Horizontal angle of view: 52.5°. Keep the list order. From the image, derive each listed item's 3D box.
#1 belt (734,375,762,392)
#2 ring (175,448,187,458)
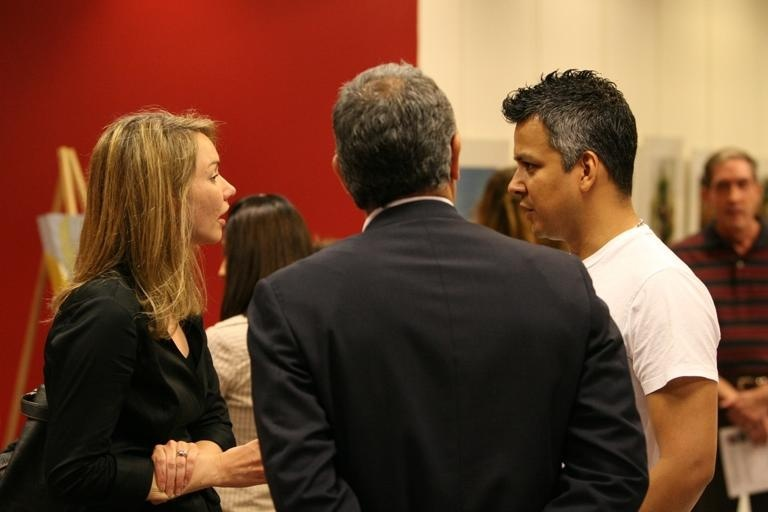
[{"bbox_3d":[2.184,0.743,4.594,0.176,0.078,0.026,-5,-6,-1],"label":"belt"},{"bbox_3d":[-0.746,0.727,2.880,0.040,0.027,0.015,-3,-6,-14],"label":"ring"}]
